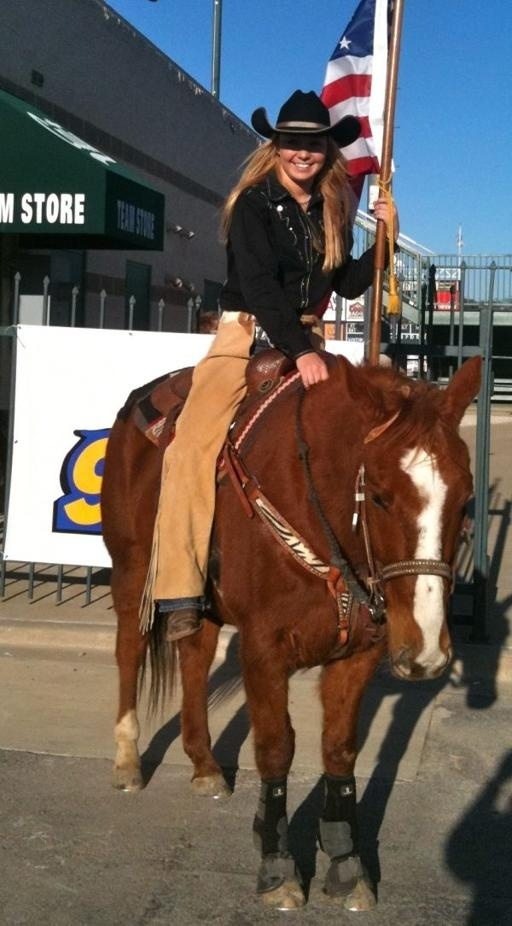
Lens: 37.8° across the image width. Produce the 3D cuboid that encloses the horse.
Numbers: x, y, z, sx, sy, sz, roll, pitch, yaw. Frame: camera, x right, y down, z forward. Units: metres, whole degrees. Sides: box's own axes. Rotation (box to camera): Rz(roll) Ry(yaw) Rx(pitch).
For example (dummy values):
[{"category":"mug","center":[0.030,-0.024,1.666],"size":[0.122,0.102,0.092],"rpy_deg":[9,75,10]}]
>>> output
[{"category":"horse","center":[-0.022,0.521,2.749],"size":[0.623,1.772,2.164],"rpy_deg":[4,0,-30]}]

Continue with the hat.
[{"category":"hat","center":[0.199,-1.363,2.980],"size":[0.402,0.152,0.402],"rpy_deg":[5,0,27]}]

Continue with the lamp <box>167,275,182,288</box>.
[{"category":"lamp","center":[-1.712,-3.765,15.668],"size":[0.268,0.081,0.271],"rpy_deg":[37,38,3]}]

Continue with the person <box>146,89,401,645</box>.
[{"category":"person","center":[0.010,-0.331,2.824],"size":[0.750,2.033,0.680],"rpy_deg":[4,6,-32]}]

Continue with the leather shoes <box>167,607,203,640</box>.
[{"category":"leather shoes","center":[-0.271,0.581,2.691],"size":[0.143,0.146,0.101],"rpy_deg":[-10,-17,14]}]
